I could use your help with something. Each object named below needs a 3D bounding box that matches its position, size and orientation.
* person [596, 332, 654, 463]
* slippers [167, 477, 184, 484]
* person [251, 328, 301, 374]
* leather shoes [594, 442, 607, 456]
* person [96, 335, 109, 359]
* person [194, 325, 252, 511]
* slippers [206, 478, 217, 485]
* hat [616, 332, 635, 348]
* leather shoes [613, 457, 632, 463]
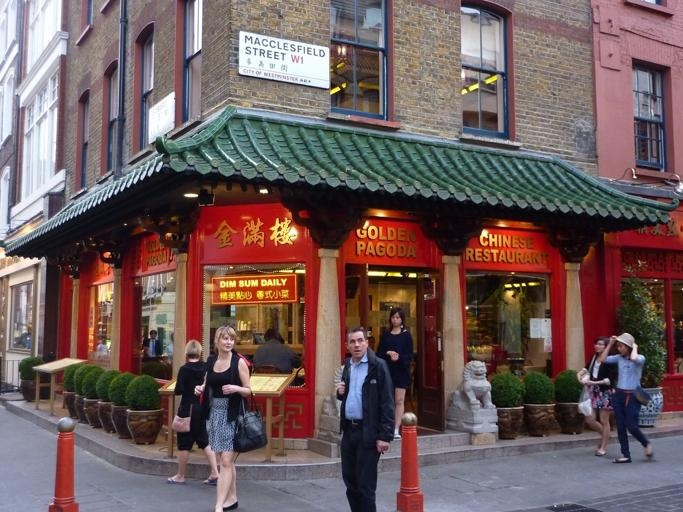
[{"bbox_3d":[5.397,2.706,14.724,0.818,2.427,1.027,-4,-14,21],"label":"person"},{"bbox_3d":[-2.823,3.885,13.289,0.209,0.070,0.118,2,-9,12],"label":"slippers"},{"bbox_3d":[-1.287,1.981,15.365,1.085,1.055,0.593,-3,11,-5],"label":"person"},{"bbox_3d":[5.062,3.847,15.118,0.119,0.159,0.400,-9,-23,29],"label":"leather shoes"},{"bbox_3d":[-6.233,2.395,20.249,0.164,0.633,1.223,6,-14,-24],"label":"person"},{"bbox_3d":[-1.813,2.558,12.199,0.697,2.818,1.095,3,-13,-11],"label":"person"},{"bbox_3d":[-2.207,3.858,13.219,0.088,0.099,0.246,7,-7,-42],"label":"slippers"},{"bbox_3d":[5.408,1.577,14.580,0.310,0.167,0.265,33,-15,-31],"label":"hat"},{"bbox_3d":[5.199,3.808,14.361,0.309,0.085,0.138,4,-8,-3],"label":"leather shoes"}]
